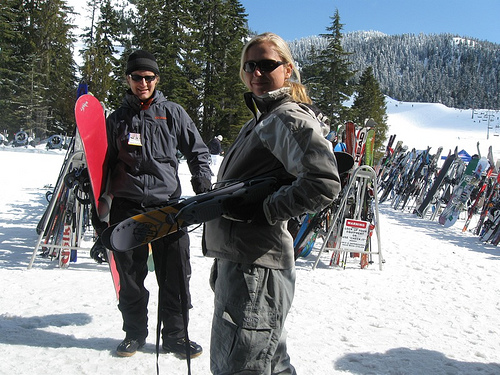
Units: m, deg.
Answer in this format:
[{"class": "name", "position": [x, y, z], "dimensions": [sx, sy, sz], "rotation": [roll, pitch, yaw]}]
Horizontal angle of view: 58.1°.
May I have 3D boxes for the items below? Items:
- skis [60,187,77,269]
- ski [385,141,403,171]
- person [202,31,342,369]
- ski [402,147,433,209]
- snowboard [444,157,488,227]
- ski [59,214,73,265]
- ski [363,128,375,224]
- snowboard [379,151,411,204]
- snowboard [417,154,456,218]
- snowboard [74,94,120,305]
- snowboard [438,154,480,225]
[{"class": "skis", "position": [-2.472, 0.560, 6.108], "dimensions": [0.103, 1.083, 0.183], "rotation": [-3, -11, 24]}, {"class": "ski", "position": [5.735, -1.303, 18.087], "dimensions": [0.263, 1.179, 0.156], "rotation": [4, 30, -43]}, {"class": "person", "position": [0.115, 0.217, 3.406], "dimensions": [0.936, 2.752, 0.767], "rotation": [3, 8, -7]}, {"class": "ski", "position": [5.814, -0.276, 15.777], "dimensions": [0.188, 2.478, 0.252], "rotation": [19, -9, 39]}, {"class": "snowboard", "position": [6.119, 0.127, 12.835], "dimensions": [0.434, 1.978, 0.346], "rotation": [22, 5, -26]}, {"class": "ski", "position": [-2.490, 0.701, 6.118], "dimensions": [0.131, 0.637, 0.126], "rotation": [7, -25, -7]}, {"class": "ski", "position": [1.932, -0.182, 7.407], "dimensions": [0.160, 1.642, 0.169], "rotation": [4, -7, 17]}, {"class": "snowboard", "position": [5.639, -0.378, 17.599], "dimensions": [0.308, 2.297, 0.313], "rotation": [33, -1, 36]}, {"class": "snowboard", "position": [5.903, -0.032, 14.416], "dimensions": [0.246, 2.337, 0.256], "rotation": [32, -1, 3]}, {"class": "snowboard", "position": [-1.455, -0.209, 4.285], "dimensions": [0.309, 2.549, 0.253], "rotation": [-9, -7, 12]}, {"class": "snowboard", "position": [6.130, 0.096, 13.263], "dimensions": [0.176, 2.264, 0.322], "rotation": [31, -4, -38]}]
